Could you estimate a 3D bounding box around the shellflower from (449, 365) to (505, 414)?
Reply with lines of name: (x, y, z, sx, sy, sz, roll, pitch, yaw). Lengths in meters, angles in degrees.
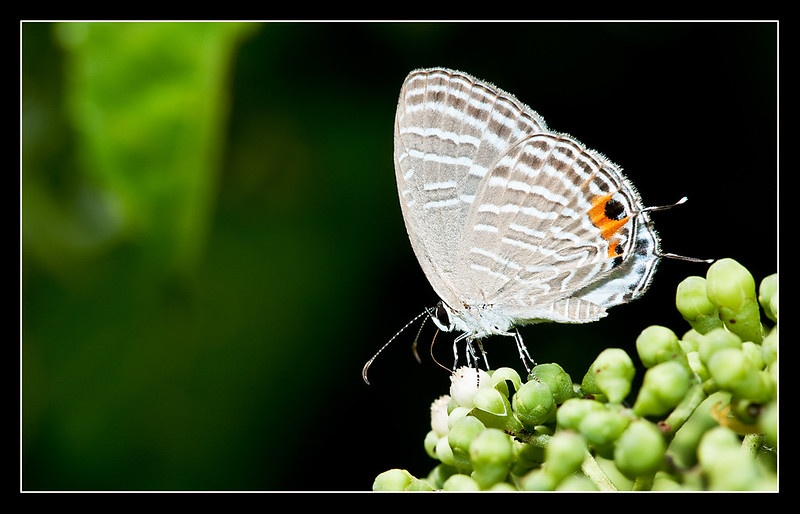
shellflower: (0.269, 0.486, 2.540, 0.108, 0.176, 0.089, -31, -55, -11)
